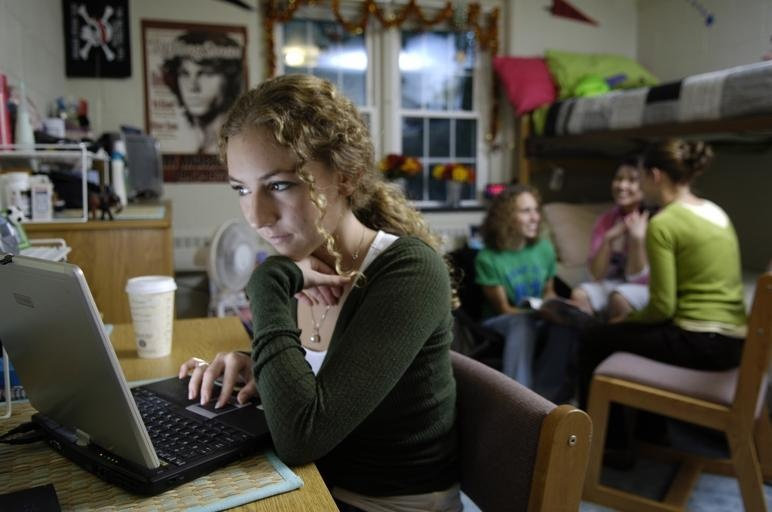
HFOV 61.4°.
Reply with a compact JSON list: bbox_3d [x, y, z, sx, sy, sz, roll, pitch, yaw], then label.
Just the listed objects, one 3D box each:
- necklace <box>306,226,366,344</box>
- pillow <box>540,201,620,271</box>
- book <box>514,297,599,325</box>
[{"bbox_3d":[-0.180,0.106,2.034,0.108,0.331,0.246,15,-9,-40],"label":"necklace"},{"bbox_3d":[1.025,-0.113,3.393,0.401,0.368,0.096,-5,-4,24],"label":"pillow"},{"bbox_3d":[0.898,0.282,3.367,0.108,0.096,0.318,0,2,-35],"label":"book"}]
